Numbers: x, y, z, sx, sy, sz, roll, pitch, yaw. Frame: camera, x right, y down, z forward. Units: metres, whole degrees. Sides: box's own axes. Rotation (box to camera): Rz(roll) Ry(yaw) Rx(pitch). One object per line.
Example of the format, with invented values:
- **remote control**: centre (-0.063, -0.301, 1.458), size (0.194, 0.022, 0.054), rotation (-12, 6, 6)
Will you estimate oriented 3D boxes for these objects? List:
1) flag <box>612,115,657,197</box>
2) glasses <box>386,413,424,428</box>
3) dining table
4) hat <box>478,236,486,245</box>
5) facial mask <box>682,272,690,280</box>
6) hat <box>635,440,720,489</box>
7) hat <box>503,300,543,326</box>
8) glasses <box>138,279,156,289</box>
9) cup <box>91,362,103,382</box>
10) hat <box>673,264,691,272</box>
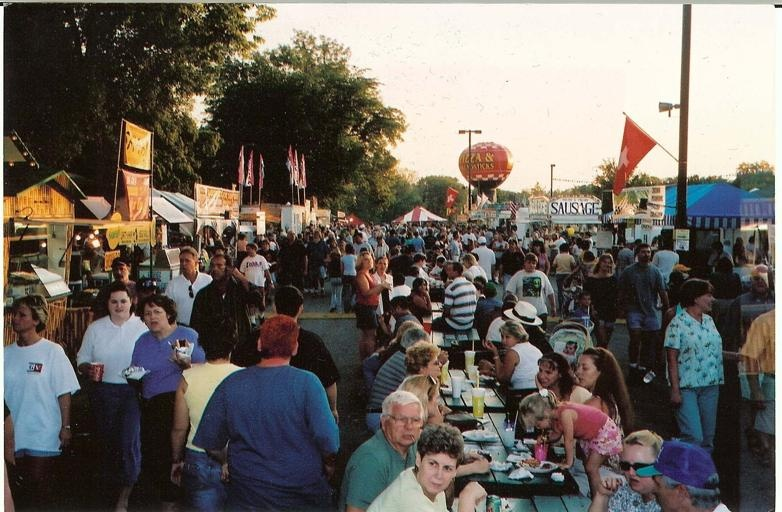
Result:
- **flag**: centre (5.630, -2.391, 15.983), size (0.808, 1.809, 2.593), rotation (0, 0, 18)
- **glasses**: centre (0.121, 1.731, 7.249), size (0.399, 0.126, 0.077), rotation (0, 0, -6)
- **dining table**: centre (1.596, 1.933, 9.133), size (1.698, 2.438, 2.635), rotation (0, 0, 4)
- **hat**: centre (3.598, -0.582, 27.062), size (0.343, 0.317, 0.537), rotation (0, 10, 3)
- **facial mask**: centre (6.138, 0.415, 14.358), size (0.112, 0.121, 0.120), rotation (2, 10, -6)
- **hat**: centre (3.061, 2.121, 7.158), size (0.563, 0.327, 0.421), rotation (11, -2, 21)
- **hat**: centre (2.156, 0.934, 11.297), size (0.428, 0.179, 0.475), rotation (20, 11, -30)
- **glasses**: centre (-3.928, 0.435, 11.098), size (0.282, 0.145, 0.224), rotation (0, 0, -23)
- **cup**: centre (-3.844, 1.525, 9.001), size (0.122, 0.233, 0.064), rotation (0, 0, -22)
- **hat**: centre (6.296, 0.257, 14.824), size (0.239, 0.100, 0.186), rotation (-5, 7, -8)
